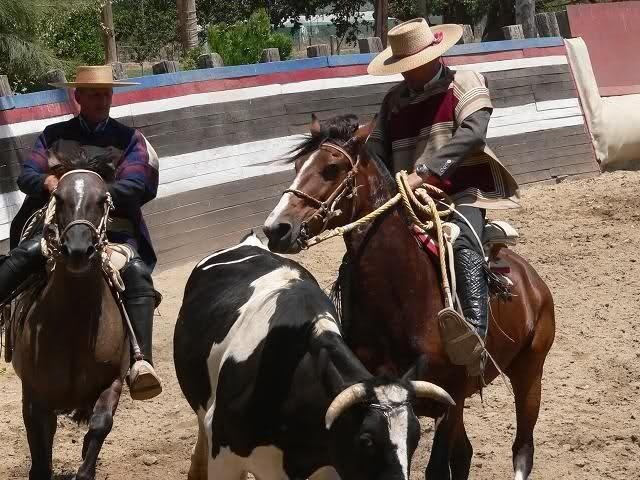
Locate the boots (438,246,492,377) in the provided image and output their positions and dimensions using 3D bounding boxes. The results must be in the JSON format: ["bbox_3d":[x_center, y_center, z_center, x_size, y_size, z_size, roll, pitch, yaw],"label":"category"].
[{"bbox_3d":[0.863,0.432,3.841,0.264,0.681,0.823,-11,35,17],"label":"boots"}]

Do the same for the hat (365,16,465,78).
[{"bbox_3d":[0.652,-1.328,4.266,0.625,0.368,0.531,-8,10,-6],"label":"hat"}]

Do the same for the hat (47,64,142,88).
[{"bbox_3d":[-1.768,-1.279,5.070,0.559,0.142,0.491,-1,4,-9],"label":"hat"}]
